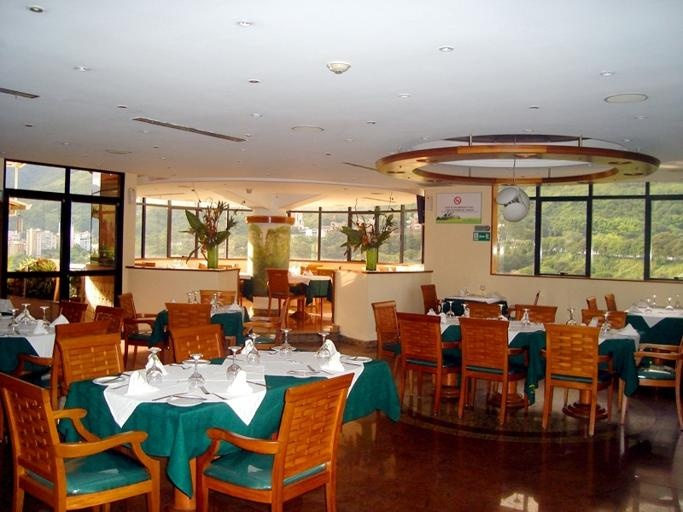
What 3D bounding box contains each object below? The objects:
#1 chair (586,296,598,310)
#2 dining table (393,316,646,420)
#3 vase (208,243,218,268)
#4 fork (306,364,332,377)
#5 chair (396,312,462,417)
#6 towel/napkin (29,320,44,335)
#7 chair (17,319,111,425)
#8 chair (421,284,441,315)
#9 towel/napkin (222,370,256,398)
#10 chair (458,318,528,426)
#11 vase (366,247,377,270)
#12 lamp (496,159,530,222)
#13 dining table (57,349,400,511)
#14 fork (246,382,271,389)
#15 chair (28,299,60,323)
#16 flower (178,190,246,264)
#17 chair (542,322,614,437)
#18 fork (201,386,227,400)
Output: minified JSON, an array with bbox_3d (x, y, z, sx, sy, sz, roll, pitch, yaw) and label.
[{"bbox_3d":[3.941,0.752,8.442,0.133,0.163,1.829,3,5,24],"label":"chair"},{"bbox_3d":[2.039,1.458,6.427,2.110,0.751,1.158,14,4,15],"label":"dining table"},{"bbox_3d":[-2.497,0.018,10.283,0.187,0.437,0.168,0,6,-18],"label":"vase"},{"bbox_3d":[-0.187,0.935,4.353,0.070,0.039,0.298,2,-2,-18],"label":"fork"},{"bbox_3d":[1.271,1.266,6.492,1.148,1.012,1.019,2,-6,11],"label":"chair"},{"bbox_3d":[-3.329,0.780,5.830,0.176,0.145,0.145,14,2,-15],"label":"towel/napkin"},{"bbox_3d":[-2.531,1.155,5.189,0.824,0.794,0.798,-1,7,24],"label":"chair"},{"bbox_3d":[1.653,0.814,10.137,0.282,0.506,0.536,3,5,14],"label":"chair"},{"bbox_3d":[-0.711,0.911,3.784,0.166,0.154,0.180,1,-16,40],"label":"towel/napkin"},{"bbox_3d":[1.721,1.274,6.150,0.947,0.913,0.812,4,-9,3],"label":"chair"},{"bbox_3d":[0.581,0.059,10.492,0.197,0.408,0.311,1,5,-3],"label":"vase"},{"bbox_3d":[2.273,-0.910,7.180,0.489,0.870,0.468,1,7,35],"label":"lamp"},{"bbox_3d":[-0.825,1.242,3.761,1.046,0.306,1.512,-1,-2,37],"label":"dining table"},{"bbox_3d":[-0.613,0.950,3.900,0.288,0.005,0.039,5,8,35],"label":"fork"},{"bbox_3d":[-4.899,0.910,8.746,0.608,0.363,0.606,4,-3,-44],"label":"chair"},{"bbox_3d":[-2.402,-0.364,10.454,1.030,0.993,0.938,6,8,-33],"label":"flower"},{"bbox_3d":[2.555,1.271,5.795,0.657,1.153,0.791,4,6,27],"label":"chair"},{"bbox_3d":[-0.895,0.958,3.734,0.333,0.080,0.066,-3,-9,39],"label":"fork"}]
